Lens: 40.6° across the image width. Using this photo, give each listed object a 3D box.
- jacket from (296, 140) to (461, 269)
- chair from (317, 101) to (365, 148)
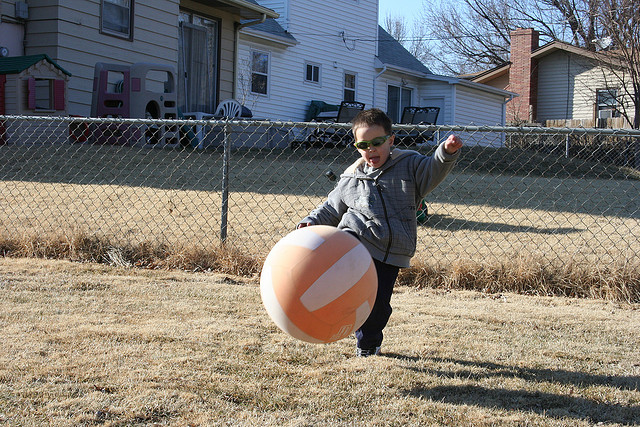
[{"bbox_3d":[0.701,-0.074,9.664,1.737,1.454,0.941,-4,-20,10],"label":"jacket"},{"bbox_3d":[0.694,-2.047,21.254,0.706,0.906,1.190,10,-18,-5],"label":"chair"}]
